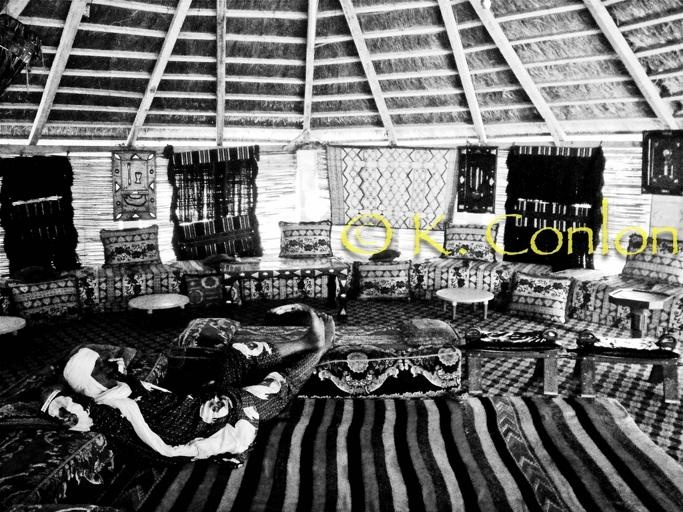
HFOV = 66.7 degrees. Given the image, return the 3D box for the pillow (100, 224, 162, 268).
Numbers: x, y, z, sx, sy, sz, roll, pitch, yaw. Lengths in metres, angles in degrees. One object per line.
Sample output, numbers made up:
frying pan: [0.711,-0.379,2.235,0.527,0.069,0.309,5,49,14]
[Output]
pillow: [-2.714,-0.127,6.671,0.691,0.463,0.444,-6,14,-22]

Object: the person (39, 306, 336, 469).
person: [-0.627,0.644,2.554,1.354,0.520,0.540,-7,16,-23]

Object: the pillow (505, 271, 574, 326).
pillow: [2.260,0.506,5.878,0.546,0.378,0.197,11,15,40]

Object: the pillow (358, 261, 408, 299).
pillow: [0.511,0.303,6.588,0.730,0.493,0.233,0,-5,-15]

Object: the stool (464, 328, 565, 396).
stool: [1.227,0.785,4.248,0.824,0.450,0.785,3,3,-10]

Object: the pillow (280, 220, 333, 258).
pillow: [-0.502,-0.227,7.027,0.715,0.451,0.476,-2,13,-5]

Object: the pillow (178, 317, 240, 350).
pillow: [-1.019,0.570,3.916,0.448,0.095,0.466,2,16,11]
